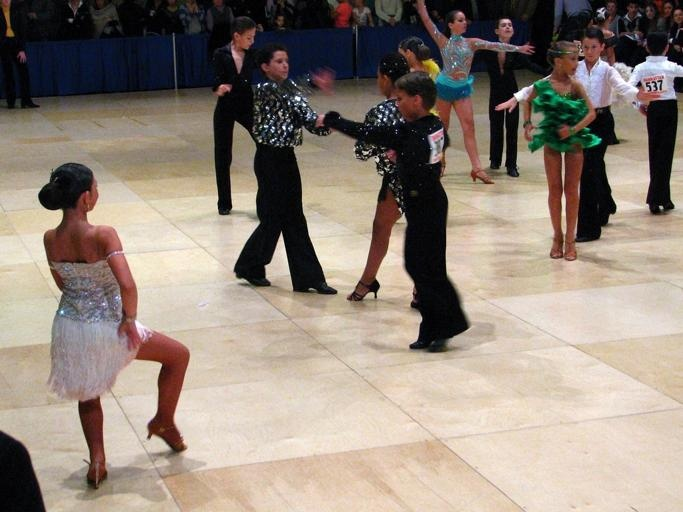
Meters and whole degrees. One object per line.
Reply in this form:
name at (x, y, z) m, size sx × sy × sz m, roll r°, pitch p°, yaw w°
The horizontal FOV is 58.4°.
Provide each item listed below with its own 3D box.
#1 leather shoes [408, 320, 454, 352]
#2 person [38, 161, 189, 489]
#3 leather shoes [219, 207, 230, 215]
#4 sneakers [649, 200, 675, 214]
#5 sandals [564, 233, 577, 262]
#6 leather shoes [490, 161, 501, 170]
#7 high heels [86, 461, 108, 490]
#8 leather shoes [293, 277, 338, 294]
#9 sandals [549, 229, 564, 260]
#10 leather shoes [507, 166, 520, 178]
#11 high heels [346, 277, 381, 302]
leather shoes at (0.765, 0.667, 4.902) m, size 0.444 × 0.261 × 0.146 m, roll 1°, pitch 7°, yaw -5°
person at (-1.206, 0.368, 3.247) m, size 0.702 × 1.698 × 0.390 m, roll -5°, pitch 15°, yaw -13°
leather shoes at (-1.635, -0.623, 8.559) m, size 0.160 × 0.081 × 0.090 m, roll -1°, pitch -3°, yaw 3°
sneakers at (4.265, -0.651, 8.235) m, size 0.466 × 0.159 × 0.145 m, roll -12°, pitch 25°, yaw -16°
sandals at (2.507, -0.097, 6.737) m, size 0.129 × 0.320 × 0.139 m, roll -1°, pitch 6°, yaw 17°
leather shoes at (2.665, -1.568, 10.651) m, size 0.085 × 0.151 × 0.230 m, roll 0°, pitch -2°, yaw -5°
high heels at (-1.311, 1.181, 3.278) m, size 0.070 × 0.072 × 0.184 m, roll -1°, pitch 19°, yaw -15°
leather shoes at (-0.244, 0.292, 6.056) m, size 0.488 × 0.175 × 0.152 m, roll 0°, pitch 10°, yaw 2°
sandals at (2.387, -0.098, 6.807) m, size 0.112 × 0.382 × 0.116 m, roll 16°, pitch 17°, yaw 39°
leather shoes at (2.862, -1.414, 10.221) m, size 0.186 × 0.177 × 0.346 m, roll 2°, pitch 13°, yaw 15°
high heels at (0.215, 0.332, 5.933) m, size 0.362 × 0.170 × 0.162 m, roll -6°, pitch 6°, yaw -3°
